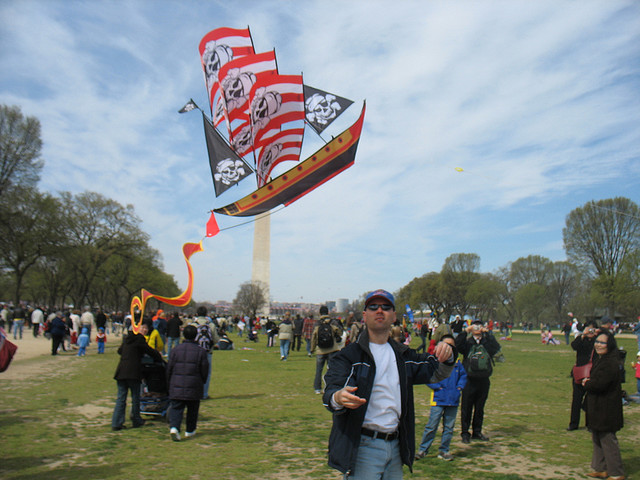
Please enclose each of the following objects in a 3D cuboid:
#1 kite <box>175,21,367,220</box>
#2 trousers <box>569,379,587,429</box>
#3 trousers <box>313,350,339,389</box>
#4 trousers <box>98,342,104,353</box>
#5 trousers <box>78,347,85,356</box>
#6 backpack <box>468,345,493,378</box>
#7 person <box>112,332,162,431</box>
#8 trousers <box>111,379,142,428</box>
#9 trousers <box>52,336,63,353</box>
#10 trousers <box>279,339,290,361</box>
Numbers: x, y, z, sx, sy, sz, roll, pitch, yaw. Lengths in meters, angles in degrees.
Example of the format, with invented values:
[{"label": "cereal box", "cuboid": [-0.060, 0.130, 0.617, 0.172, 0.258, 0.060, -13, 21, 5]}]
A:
[{"label": "kite", "cuboid": [-2.013, -4.466, 16.054, 6.156, 6.111, 2.843, -21, 8, 19]}, {"label": "trousers", "cuboid": [6.332, 4.054, 11.296, 0.368, 1.131, 0.588, 0, -12, 12]}, {"label": "trousers", "cuboid": [0.039, 4.206, 14.784, 0.360, 1.179, 1.218, 3, -12, -1]}, {"label": "trousers", "cuboid": [-11.919, 5.816, 24.992, 0.196, 0.528, 0.346, 11, -14, -33]}, {"label": "trousers", "cuboid": [-12.124, 5.651, 23.418, 0.225, 0.406, 0.553, 10, -14, -31]}, {"label": "backpack", "cuboid": [3.601, 2.711, 10.319, 0.531, 0.716, 0.244, 2, -12, 5]}, {"label": "person", "cuboid": [-4.322, 3.233, 10.662, 0.845, 2.155, 0.765, 13, -16, -41]}, {"label": "trousers", "cuboid": [-4.395, 3.713, 10.532, 0.562, 1.069, 0.475, 8, -13, -23]}, {"label": "trousers", "cuboid": [-13.089, 5.172, 22.776, 0.319, 0.730, 0.498, 9, -13, -28]}, {"label": "trousers", "cuboid": [-1.730, 5.465, 22.838, 0.406, 0.993, 1.327, 3, -12, -2]}]
